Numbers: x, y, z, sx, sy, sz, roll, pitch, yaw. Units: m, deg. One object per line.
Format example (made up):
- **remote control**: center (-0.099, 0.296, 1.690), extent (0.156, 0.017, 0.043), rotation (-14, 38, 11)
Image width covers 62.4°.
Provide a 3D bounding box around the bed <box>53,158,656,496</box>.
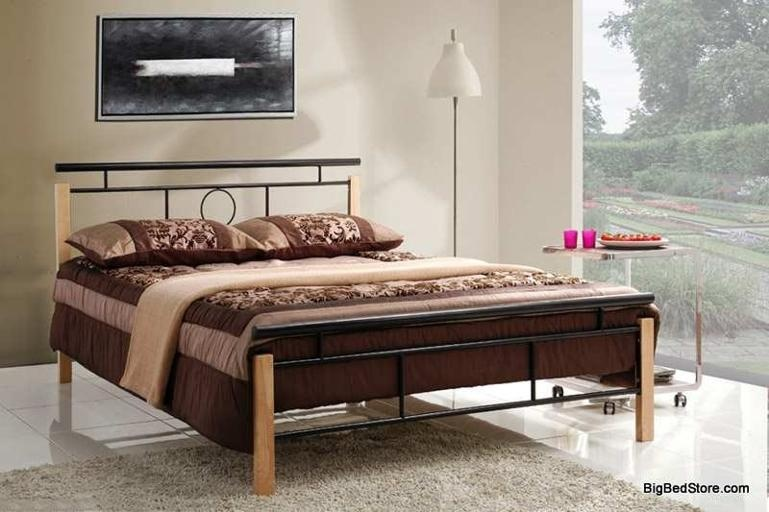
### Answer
- **bed**: center (-0.360, 0.103, 3.516), extent (2.166, 1.010, 2.664), rotation (-2, 6, -35)
